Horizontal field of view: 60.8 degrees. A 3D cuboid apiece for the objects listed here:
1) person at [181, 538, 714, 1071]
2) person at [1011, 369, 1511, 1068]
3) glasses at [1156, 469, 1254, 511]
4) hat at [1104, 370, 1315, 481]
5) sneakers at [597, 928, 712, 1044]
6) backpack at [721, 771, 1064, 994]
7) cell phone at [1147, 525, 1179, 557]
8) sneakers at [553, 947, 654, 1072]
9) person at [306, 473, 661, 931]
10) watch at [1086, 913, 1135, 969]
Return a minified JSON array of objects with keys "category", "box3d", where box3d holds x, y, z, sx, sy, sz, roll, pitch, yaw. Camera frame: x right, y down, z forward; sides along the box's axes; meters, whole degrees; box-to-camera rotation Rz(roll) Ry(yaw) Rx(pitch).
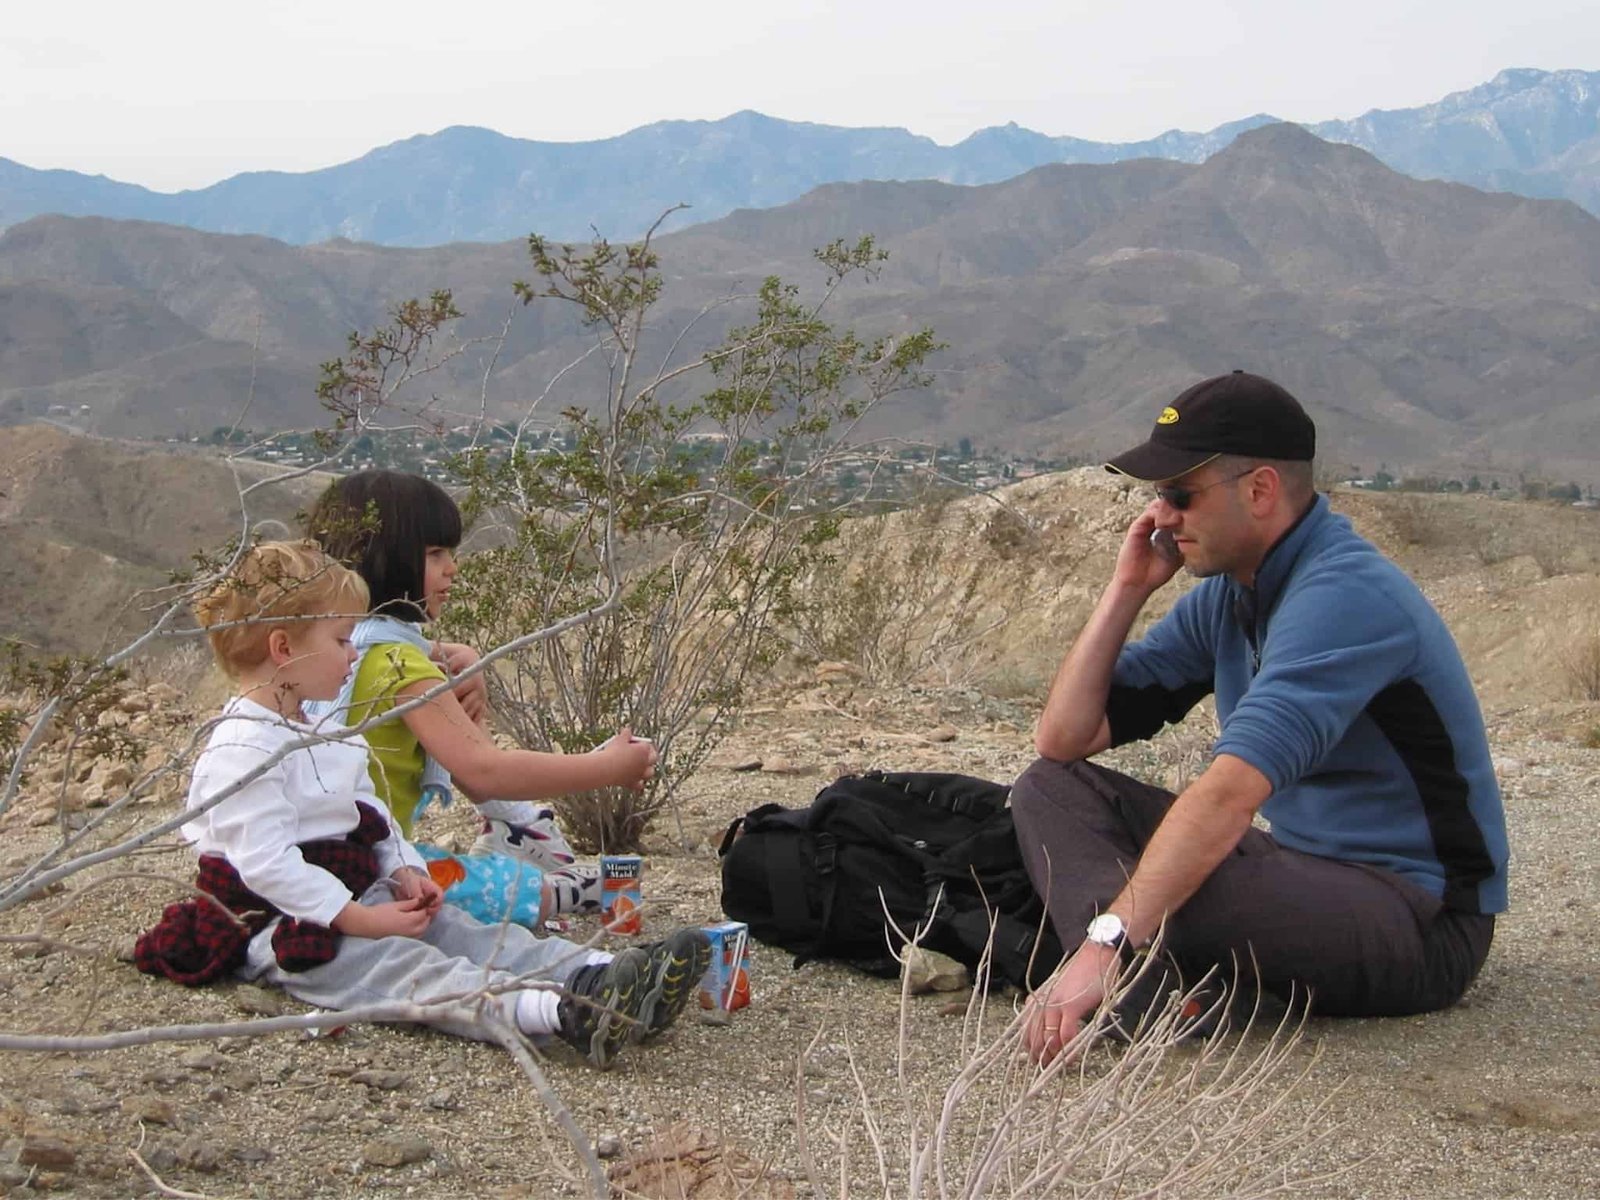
[{"category":"person","box3d":[-0.981,0.518,3.708,1.388,1.294,0.682,11,12,15]},{"category":"person","box3d":[1.227,0.279,4.079,1.496,1.900,0.925,0,2,-19]},{"category":"glasses","box3d":[1.154,-0.308,3.926,0.168,0.048,0.125,-18,-1,-8]},{"category":"hat","box3d":[1.214,-0.527,4.039,0.625,0.348,0.410,0,9,1]},{"category":"sneakers","box3d":[-0.379,0.990,3.691,0.188,0.229,0.517,24,-45,-14]},{"category":"backpack","box3d":[0.304,0.882,4.399,0.707,0.324,0.724,6,11,35]},{"category":"cell phone","box3d":[1.144,-0.196,4.310,0.064,0.093,0.085,-4,8,42]},{"category":"sneakers","box3d":[-0.511,1.055,3.543,0.241,0.298,0.210,0,2,-23]},{"category":"person","box3d":[-1.007,0.305,4.422,1.145,1.364,0.971,4,5,-7]},{"category":"watch","box3d":[0.824,0.903,3.629,0.099,0.070,0.104,46,-16,-30]}]
